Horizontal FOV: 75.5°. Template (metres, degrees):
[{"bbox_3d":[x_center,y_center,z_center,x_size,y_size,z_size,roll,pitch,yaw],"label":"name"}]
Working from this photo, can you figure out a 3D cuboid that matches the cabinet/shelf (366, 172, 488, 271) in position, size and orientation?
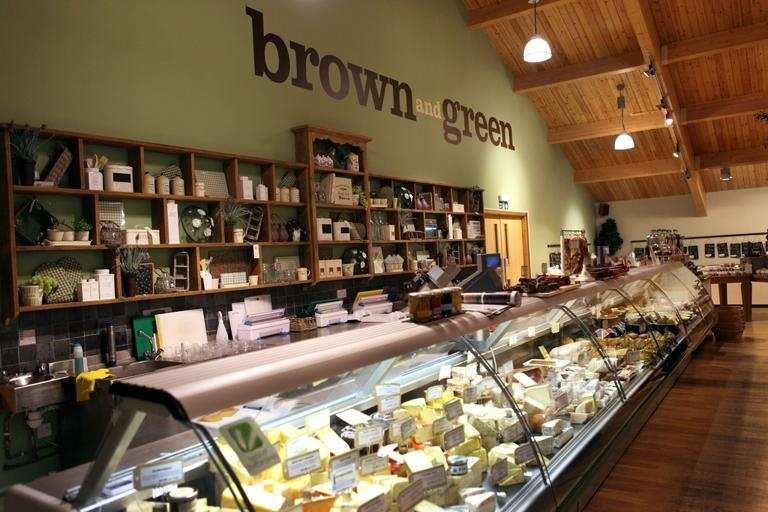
[{"bbox_3d":[0.626,-0.464,7.149,0.312,1.262,2.599,-9,-1,43],"label":"cabinet/shelf"}]

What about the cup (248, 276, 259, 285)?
[{"bbox_3d":[-1.341,0.257,5.107,0.087,0.073,0.074,-4,-2,-2],"label":"cup"}]

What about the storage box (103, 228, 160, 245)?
[{"bbox_3d":[-2.193,-0.169,4.345,0.490,0.120,0.066,-8,-1,-44],"label":"storage box"}]

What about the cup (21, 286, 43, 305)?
[{"bbox_3d":[-2.711,0.302,3.859,0.134,0.129,0.144,-1,3,0],"label":"cup"}]

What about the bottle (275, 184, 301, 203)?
[{"bbox_3d":[-1.042,-0.671,5.423,0.153,0.222,0.308,-5,-1,33],"label":"bottle"}]

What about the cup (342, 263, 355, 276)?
[{"bbox_3d":[-0.425,0.169,5.924,0.128,0.107,0.132,-3,1,0],"label":"cup"}]

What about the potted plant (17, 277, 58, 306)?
[{"bbox_3d":[-2.701,0.271,3.900,0.210,0.161,0.217,1,7,6],"label":"potted plant"}]

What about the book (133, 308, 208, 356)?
[{"bbox_3d":[-1.950,0.700,4.546,0.103,0.425,0.453,-9,-2,42],"label":"book"}]

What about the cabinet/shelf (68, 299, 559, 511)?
[{"bbox_3d":[-0.383,0.769,2.606,2.084,0.670,0.605,-8,-1,-35],"label":"cabinet/shelf"}]

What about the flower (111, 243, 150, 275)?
[{"bbox_3d":[-2.204,0.016,4.321,0.221,0.260,0.236,-1,2,-16],"label":"flower"}]

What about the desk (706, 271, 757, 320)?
[{"bbox_3d":[6.872,0.733,9.752,0.839,0.829,0.901,-2,5,40],"label":"desk"}]

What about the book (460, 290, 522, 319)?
[{"bbox_3d":[0.675,0.304,3.209,0.256,0.071,0.197,0,6,31],"label":"book"}]

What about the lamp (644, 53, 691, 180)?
[{"bbox_3d":[5.490,-2.789,9.612,0.364,0.858,4.989,-4,-18,26],"label":"lamp"}]

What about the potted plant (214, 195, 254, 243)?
[{"bbox_3d":[-1.508,-0.383,5.017,0.350,0.398,0.386,0,2,-38],"label":"potted plant"}]

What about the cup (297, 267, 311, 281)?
[{"bbox_3d":[-0.887,0.196,5.498,0.092,0.140,0.142,-6,-7,38],"label":"cup"}]
